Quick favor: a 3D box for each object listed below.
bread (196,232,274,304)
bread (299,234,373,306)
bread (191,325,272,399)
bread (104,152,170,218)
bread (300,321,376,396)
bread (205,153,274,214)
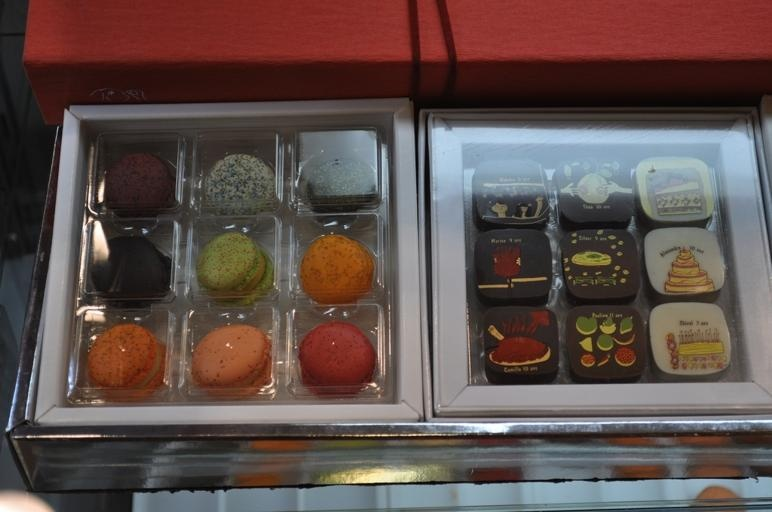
[{"bbox_3d":[-0.412,0.013,1.761,0.181,0.163,0.086,-8,-33,-7],"label":"bread"},{"bbox_3d":[-0.119,0.041,1.762,0.199,0.154,0.107,-2,-6,-2],"label":"bread"},{"bbox_3d":[-0.387,0.264,1.674,0.198,0.173,0.066,-3,3,-11],"label":"bread"},{"bbox_3d":[-0.658,-0.186,1.778,0.180,0.157,0.040,-3,-4,-8],"label":"bread"},{"bbox_3d":[-0.117,0.261,1.726,0.229,0.120,0.209,-1,21,11],"label":"bread"},{"bbox_3d":[-0.394,-0.192,1.799,0.178,0.155,0.044,-3,2,-8],"label":"bread"}]
